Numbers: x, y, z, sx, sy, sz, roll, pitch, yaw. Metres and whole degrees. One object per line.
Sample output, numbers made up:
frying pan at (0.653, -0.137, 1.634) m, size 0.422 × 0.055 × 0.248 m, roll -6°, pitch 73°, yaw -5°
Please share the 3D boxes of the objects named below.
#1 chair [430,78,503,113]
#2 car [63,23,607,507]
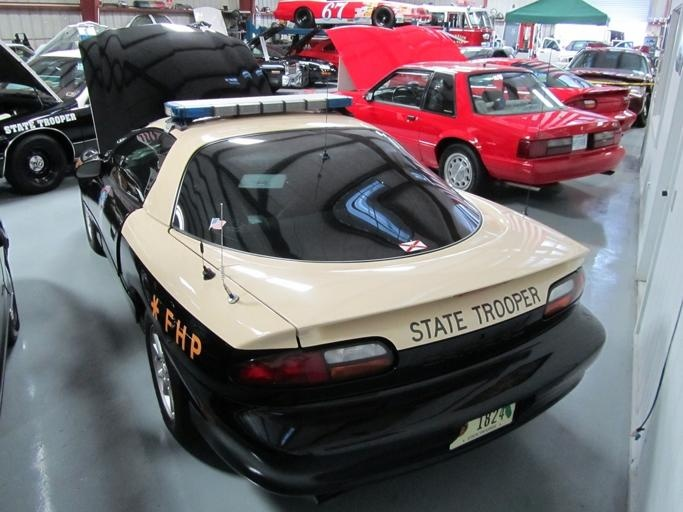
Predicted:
chair at (1.547, -1.990, 5.152) m, size 0.767 × 0.469 × 0.339 m, roll 2°, pitch -16°, yaw 3°
car at (-0.581, -0.328, 2.612) m, size 1.702 × 1.474 × 3.539 m, roll -21°, pitch 39°, yaw -31°
